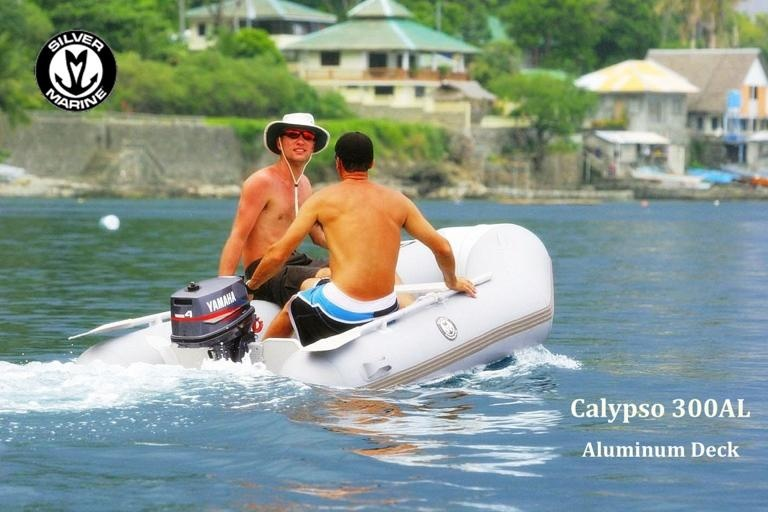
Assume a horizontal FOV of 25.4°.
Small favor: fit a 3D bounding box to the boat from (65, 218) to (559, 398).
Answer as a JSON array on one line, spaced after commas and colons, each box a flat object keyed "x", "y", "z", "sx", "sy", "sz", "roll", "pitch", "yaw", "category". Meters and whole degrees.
[{"x": -4.701, "y": 2.304, "z": 58.463, "sx": 10.142, "sy": 7.517, "sz": 24.437, "roll": 1, "pitch": -2, "yaw": -31, "category": "boat"}]
